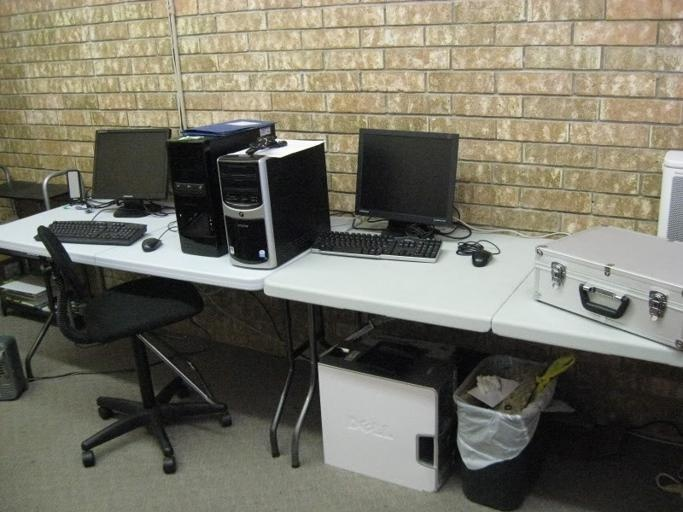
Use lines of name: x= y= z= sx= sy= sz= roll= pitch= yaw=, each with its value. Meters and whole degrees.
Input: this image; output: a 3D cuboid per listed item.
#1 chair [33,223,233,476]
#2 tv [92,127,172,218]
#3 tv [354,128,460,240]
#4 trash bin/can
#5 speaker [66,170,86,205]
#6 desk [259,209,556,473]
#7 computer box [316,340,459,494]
chair: x=-0.960 y=0.418 z=2.831 sx=0.748 sy=1.027 sz=0.728 roll=-6 pitch=17 yaw=-15
tv: x=-1.172 y=-0.468 z=3.267 sx=0.488 sy=0.462 sz=0.155 roll=2 pitch=2 yaw=17
tv: x=0.305 y=-0.337 z=2.669 sx=0.464 sy=0.424 sz=0.171 roll=8 pitch=18 yaw=25
trash bin/can: x=0.678 y=0.728 z=2.570 sx=0.404 sy=0.451 sz=0.603 roll=5 pitch=13 yaw=33
speaker: x=-1.600 y=-0.413 z=3.472 sx=0.092 sy=0.170 sz=0.084 roll=-9 pitch=10 yaw=-35
desk: x=0.201 y=0.412 z=2.639 sx=0.958 sy=0.779 sz=0.925 roll=6 pitch=18 yaw=9
computer box: x=0.247 y=0.676 z=2.704 sx=0.585 sy=0.574 sz=0.520 roll=3 pitch=10 yaw=29
